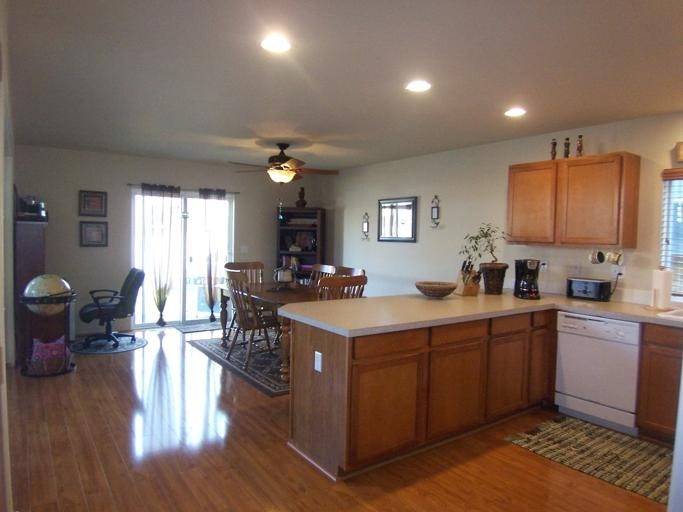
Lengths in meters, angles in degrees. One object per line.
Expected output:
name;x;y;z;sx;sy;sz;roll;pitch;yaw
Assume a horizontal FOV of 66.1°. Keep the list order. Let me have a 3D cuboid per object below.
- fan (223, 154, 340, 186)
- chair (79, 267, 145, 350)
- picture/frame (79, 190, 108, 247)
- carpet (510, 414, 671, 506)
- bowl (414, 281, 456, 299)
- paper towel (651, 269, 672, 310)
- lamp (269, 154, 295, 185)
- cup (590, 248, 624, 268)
fan;-0.769;-1.024;6.436;0.846;0.241;0.888;2;-4;-27
chair;-2.941;0.658;6.722;0.858;0.955;0.803;1;1;-37
picture/frame;-3.324;-0.489;6.999;0.374;0.762;0.088;-5;12;-30
carpet;2.057;1.592;4.278;1.059;0.091;0.797;8;12;34
bowl;0.884;0.326;4.906;0.348;0.165;0.323;1;10;0
paper towel;2.781;0.297;4.671;0.134;0.318;0.130;7;3;-11
lamp;-0.710;-1.002;6.140;0.305;0.322;0.314;9;10;36
cup;2.516;0.021;4.993;0.235;0.167;0.253;-4;22;2
